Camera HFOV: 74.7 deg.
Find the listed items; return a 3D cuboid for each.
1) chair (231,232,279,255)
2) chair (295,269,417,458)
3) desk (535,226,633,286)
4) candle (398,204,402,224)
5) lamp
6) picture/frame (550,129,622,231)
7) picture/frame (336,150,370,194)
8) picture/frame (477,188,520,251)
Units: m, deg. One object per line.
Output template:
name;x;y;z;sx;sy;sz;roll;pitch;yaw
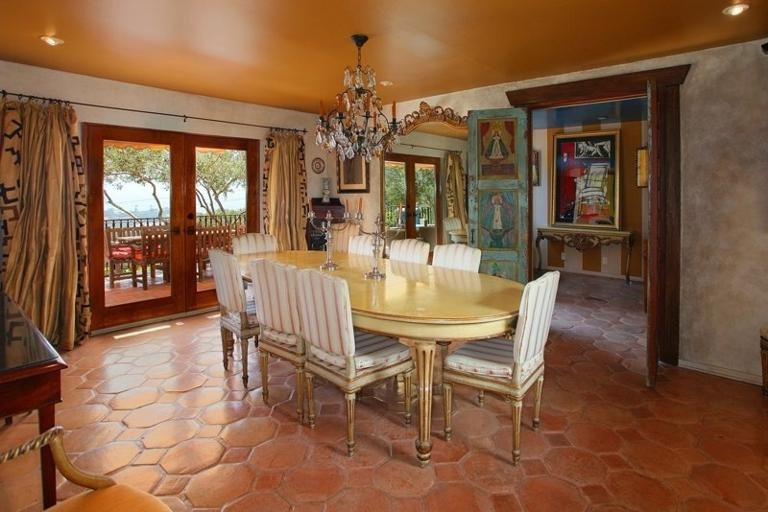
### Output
chair;-1.614;-0.134;6.303;0.355;0.447;0.367;-2;2;-36
chair;-0.216;0.816;4.113;0.873;1.448;0.511;-4;10;-10
desk;3.491;-0.017;8.682;0.575;0.847;1.573;-11;13;-43
candle;0.244;-0.593;7.397;0.077;0.262;0.046;3;11;26
lamp;-0.431;-1.622;5.423;1.140;1.576;1.121;-2;4;-15
picture/frame;3.416;-1.266;8.514;1.052;1.579;0.326;3;11;26
picture/frame;-0.430;-1.218;7.414;0.669;0.658;0.070;6;10;39
picture/frame;1.380;-0.418;6.057;0.425;0.686;0.140;2;11;25
